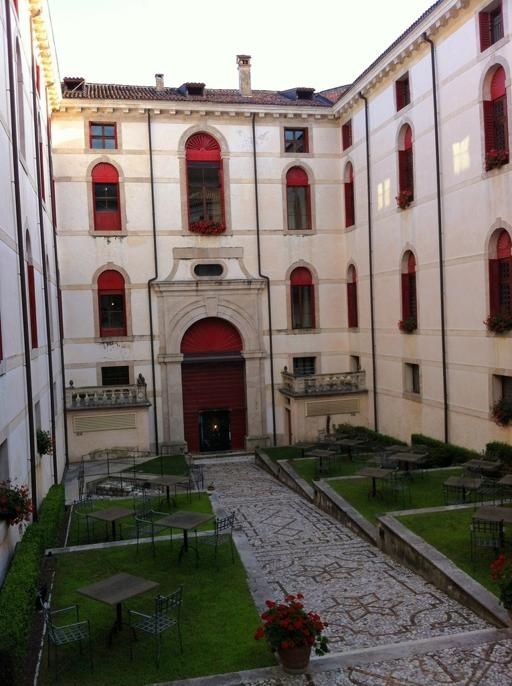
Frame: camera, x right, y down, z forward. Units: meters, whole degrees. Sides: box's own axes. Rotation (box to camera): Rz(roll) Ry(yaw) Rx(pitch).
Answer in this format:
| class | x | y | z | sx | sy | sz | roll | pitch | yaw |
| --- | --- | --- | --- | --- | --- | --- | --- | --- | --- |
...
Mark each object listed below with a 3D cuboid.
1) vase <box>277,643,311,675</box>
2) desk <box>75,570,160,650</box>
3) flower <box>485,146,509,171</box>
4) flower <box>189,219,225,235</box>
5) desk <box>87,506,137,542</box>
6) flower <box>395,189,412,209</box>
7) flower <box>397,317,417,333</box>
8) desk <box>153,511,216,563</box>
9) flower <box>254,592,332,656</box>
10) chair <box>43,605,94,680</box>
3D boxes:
| class | x | y | z | sx | sy | sz | roll | pitch | yaw |
| --- | --- | --- | --- | --- | --- | --- | --- | --- | --- |
| vase | 0.443 | 3.850 | 8.345 | 0.416 | 0.283 | 0.402 | 0 | -3 | -31 |
| desk | -1.993 | 3.700 | 9.605 | 0.896 | 0.789 | 0.899 | 4 | 7 | 33 |
| flower | 6.074 | -4.696 | 17.312 | 0.516 | 0.498 | 0.522 | -23 | 31 | -38 |
| flower | -2.042 | -4.596 | 27.508 | 0.912 | 0.368 | 0.735 | 2 | 3 | 32 |
| desk | -3.234 | 4.134 | 15.246 | 0.724 | 0.652 | 0.723 | 8 | 15 | 29 |
| flower | 4.839 | -4.700 | 22.261 | 0.288 | 0.551 | 0.500 | -4 | 11 | -40 |
| flower | 5.042 | -0.549 | 22.586 | 0.477 | 0.383 | 0.461 | -9 | -6 | 8 |
| desk | -1.454 | 3.813 | 13.687 | 1.038 | 0.831 | 2.079 | -3 | 0 | -8 |
| flower | 0.430 | 3.600 | 8.363 | 0.814 | 0.812 | 0.756 | -5 | -29 | 1 |
| chair | -2.529 | 3.921 | 9.081 | 0.547 | 0.828 | 0.477 | -3 | 5 | -28 |
